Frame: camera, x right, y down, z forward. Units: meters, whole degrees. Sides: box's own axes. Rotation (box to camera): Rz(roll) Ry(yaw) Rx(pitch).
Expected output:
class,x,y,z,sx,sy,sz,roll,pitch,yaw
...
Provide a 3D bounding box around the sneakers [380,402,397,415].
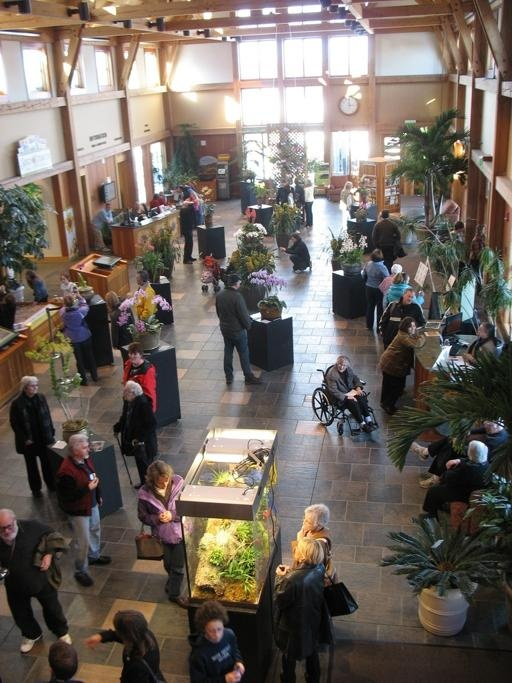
class,x,y,z,sx,sy,sz,roll,pitch,yaw
sneakers,1.611,0.797,6.192,0.224,0.140,0.073,11,34,36

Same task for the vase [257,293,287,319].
class,x,y,z,sx,sy,sz,roll,pitch,yaw
vase,0.223,-0.478,7.441,0.342,0.277,0.349,15,28,37

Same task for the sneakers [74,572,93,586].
class,x,y,z,sx,sy,sz,roll,pitch,yaw
sneakers,-1.306,1.764,3.865,0.182,0.076,0.069,10,11,42

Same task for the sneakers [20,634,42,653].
class,x,y,z,sx,sy,sz,roll,pitch,yaw
sneakers,-1.462,1.939,3.308,0.052,0.060,0.153,7,6,8

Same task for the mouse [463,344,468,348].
class,x,y,z,sx,sy,sz,roll,pitch,yaw
mouse,2.392,0.055,5.784,0.057,0.053,0.030,-2,-14,-5

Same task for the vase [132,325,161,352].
class,x,y,z,sx,sy,sz,roll,pitch,yaw
vase,-1.226,-0.047,5.986,0.340,0.253,0.311,6,18,20

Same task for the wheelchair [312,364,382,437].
class,x,y,z,sx,sy,sz,roll,pitch,yaw
wheelchair,1.068,0.668,5.853,0.574,0.668,0.809,-7,12,-30

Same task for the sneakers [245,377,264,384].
class,x,y,z,sx,sy,sz,roll,pitch,yaw
sneakers,-0.045,0.552,7.091,0.194,0.081,0.104,-3,26,2

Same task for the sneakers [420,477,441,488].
class,x,y,z,sx,sy,sz,roll,pitch,yaw
sneakers,1.607,1.281,4.711,0.202,0.084,0.073,-15,12,11

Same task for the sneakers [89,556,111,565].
class,x,y,z,sx,sy,sz,roll,pitch,yaw
sneakers,-1.229,1.729,4.028,0.172,0.070,0.061,-6,33,-9

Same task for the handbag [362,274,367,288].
class,x,y,z,sx,sy,sz,roll,pitch,yaw
handbag,1.910,-1.065,8.990,0.060,0.158,0.116,-4,-8,11
